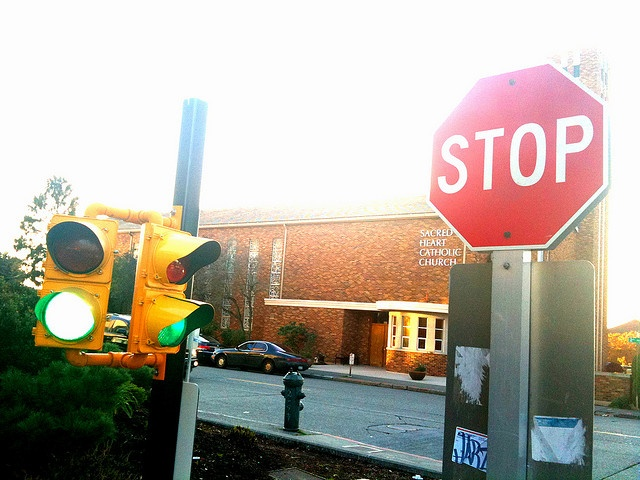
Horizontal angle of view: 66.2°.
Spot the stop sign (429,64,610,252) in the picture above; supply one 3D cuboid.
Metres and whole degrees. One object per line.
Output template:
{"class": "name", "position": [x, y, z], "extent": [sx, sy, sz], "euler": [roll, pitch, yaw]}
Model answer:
{"class": "stop sign", "position": [0.838, -0.364, 2.123], "extent": [0.725, 0.824, 0.099], "euler": [-3, -9, 37]}

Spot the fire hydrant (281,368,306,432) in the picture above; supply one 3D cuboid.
{"class": "fire hydrant", "position": [-0.500, 3.047, 9.459], "extent": [0.448, 1.176, 0.426], "euler": [0, -1, 41]}

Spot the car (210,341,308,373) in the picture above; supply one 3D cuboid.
{"class": "car", "position": [-2.993, 5.868, 24.775], "extent": [5.033, 1.420, 2.061], "euler": [-2, -14, 30]}

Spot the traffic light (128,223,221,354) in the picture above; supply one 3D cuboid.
{"class": "traffic light", "position": [-0.798, 0.291, 2.800], "extent": [0.395, 0.706, 0.384], "euler": [4, -5, 16]}
